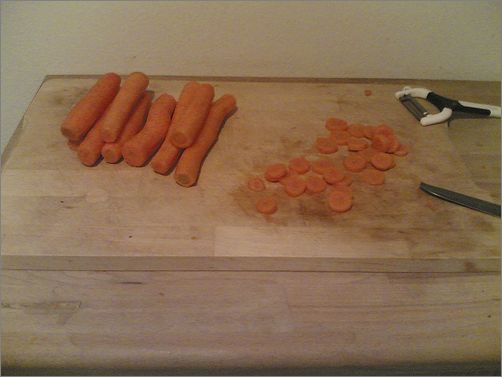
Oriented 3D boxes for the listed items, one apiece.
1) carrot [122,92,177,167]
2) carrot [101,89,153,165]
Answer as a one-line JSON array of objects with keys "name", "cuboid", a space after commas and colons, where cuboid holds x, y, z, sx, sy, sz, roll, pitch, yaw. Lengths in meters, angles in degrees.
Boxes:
[{"name": "carrot", "cuboid": [-0.342, -0.232, 1.860, 0.149, 0.108, 0.331, 26, 52, 7]}, {"name": "carrot", "cuboid": [-0.447, -0.228, 1.899, 0.147, 0.095, 0.310, 24, 58, 10]}]
